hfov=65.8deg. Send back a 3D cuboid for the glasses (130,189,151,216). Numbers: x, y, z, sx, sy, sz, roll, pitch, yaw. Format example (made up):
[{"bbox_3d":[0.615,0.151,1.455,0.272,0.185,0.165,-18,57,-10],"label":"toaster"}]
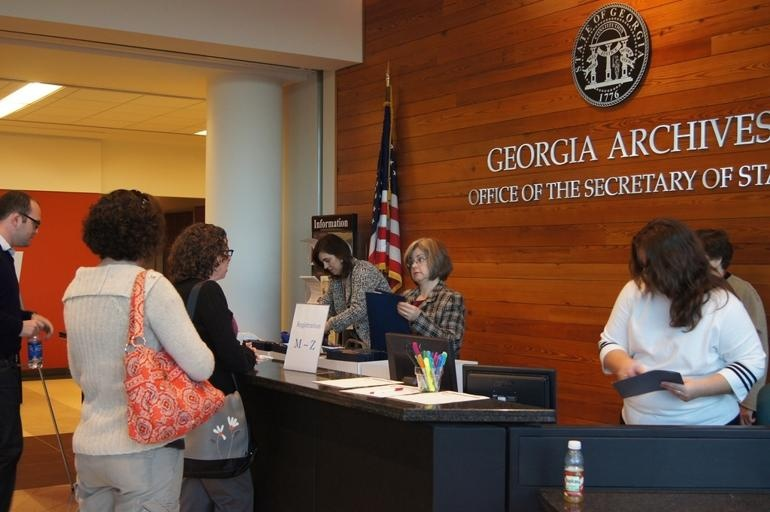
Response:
[{"bbox_3d":[-1.152,-0.247,2.749,0.031,0.105,0.082,-33,10,29],"label":"glasses"}]

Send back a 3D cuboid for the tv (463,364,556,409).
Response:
[{"bbox_3d":[0.665,0.700,3.213,0.491,0.227,0.098,0,0,11],"label":"tv"}]

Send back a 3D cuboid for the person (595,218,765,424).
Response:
[{"bbox_3d":[1.472,0.350,2.956,0.752,1.054,0.464,0,0,18],"label":"person"}]

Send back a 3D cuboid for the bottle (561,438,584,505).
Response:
[{"bbox_3d":[0.795,0.884,2.511,0.087,0.262,0.184,0,0,18],"label":"bottle"}]

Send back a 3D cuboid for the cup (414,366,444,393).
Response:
[{"bbox_3d":[0.213,0.628,3.033,0.130,0.088,0.125,0,1,0],"label":"cup"}]
